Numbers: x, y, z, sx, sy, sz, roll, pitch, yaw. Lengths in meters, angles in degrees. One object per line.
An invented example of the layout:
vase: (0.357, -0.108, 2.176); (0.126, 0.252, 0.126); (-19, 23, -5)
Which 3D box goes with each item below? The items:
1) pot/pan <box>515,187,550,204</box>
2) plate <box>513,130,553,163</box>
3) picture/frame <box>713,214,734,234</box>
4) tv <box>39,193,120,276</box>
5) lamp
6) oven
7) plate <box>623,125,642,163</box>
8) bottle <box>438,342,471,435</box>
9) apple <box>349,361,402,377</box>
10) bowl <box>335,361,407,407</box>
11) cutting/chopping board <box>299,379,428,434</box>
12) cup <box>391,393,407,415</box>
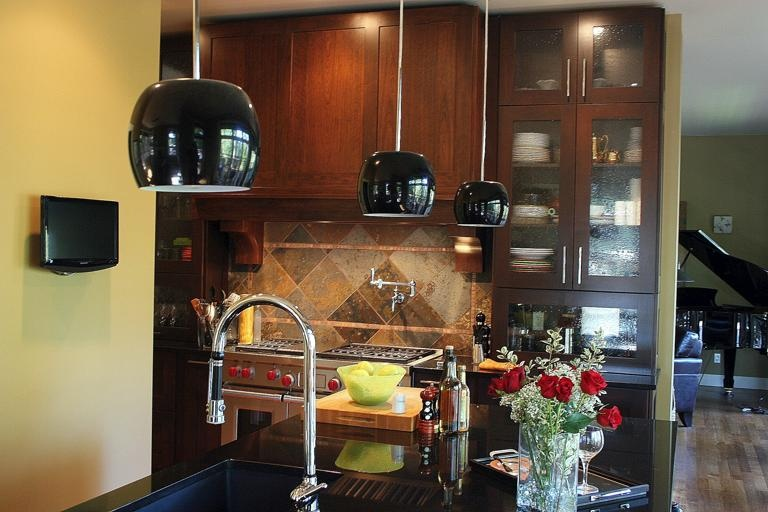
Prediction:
pot/pan: (1.039, -0.395, 4.656); (0.171, 0.070, 0.148); (0, 0, 27)
plate: (1.038, -0.745, 4.652); (0.226, 0.153, 0.224); (4, 6, 32)
picture/frame: (4.598, -0.411, 9.020); (0.281, 0.282, 0.040); (0, 0, 13)
tv: (-1.518, -0.100, 3.293); (0.210, 0.390, 0.405); (10, 5, 42)
lamp: (-0.582, -0.374, 2.054); (0.380, 0.327, 0.115); (-2, 3, -18)
oven: (-0.688, 1.124, 5.040); (0.957, 0.844, 0.590); (6, 7, 7)
plate: (1.688, -0.745, 4.532); (0.109, 0.252, 0.017); (0, 3, 20)
bottle: (0.329, 0.630, 3.114); (0.133, 0.425, 0.099); (-1, 3, -5)
apple: (-0.045, 0.597, 3.486); (0.224, 0.085, 0.219); (0, -4, 1)
bowl: (-0.057, 0.626, 3.318); (0.252, 0.134, 0.248); (0, -4, 0)
cutting/chopping board: (-0.097, 0.658, 3.492); (0.541, 0.109, 0.570); (7, 33, 3)
cup: (0.073, 0.721, 3.224); (0.082, 0.087, 0.080); (0, 3, 0)
